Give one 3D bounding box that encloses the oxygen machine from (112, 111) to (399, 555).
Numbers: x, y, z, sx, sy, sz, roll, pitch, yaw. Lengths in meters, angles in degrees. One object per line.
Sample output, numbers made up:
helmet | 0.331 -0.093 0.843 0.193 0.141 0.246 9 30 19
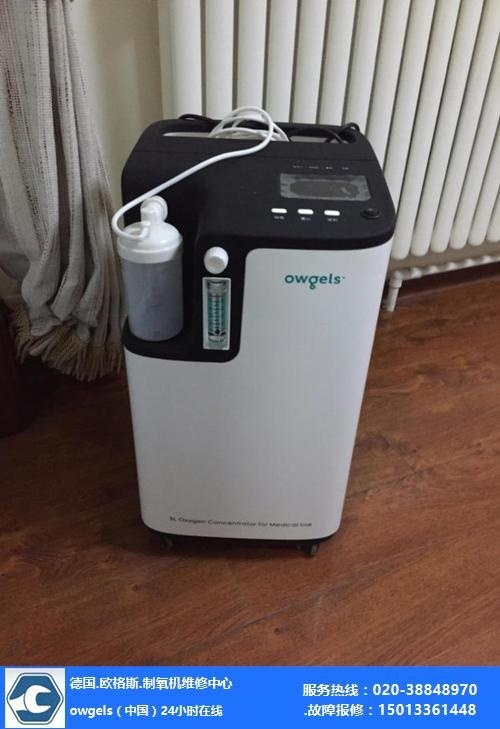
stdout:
oxygen machine | -0.007 -0.026 1.005 0.381 0.600 0.365 -4 41 -7
